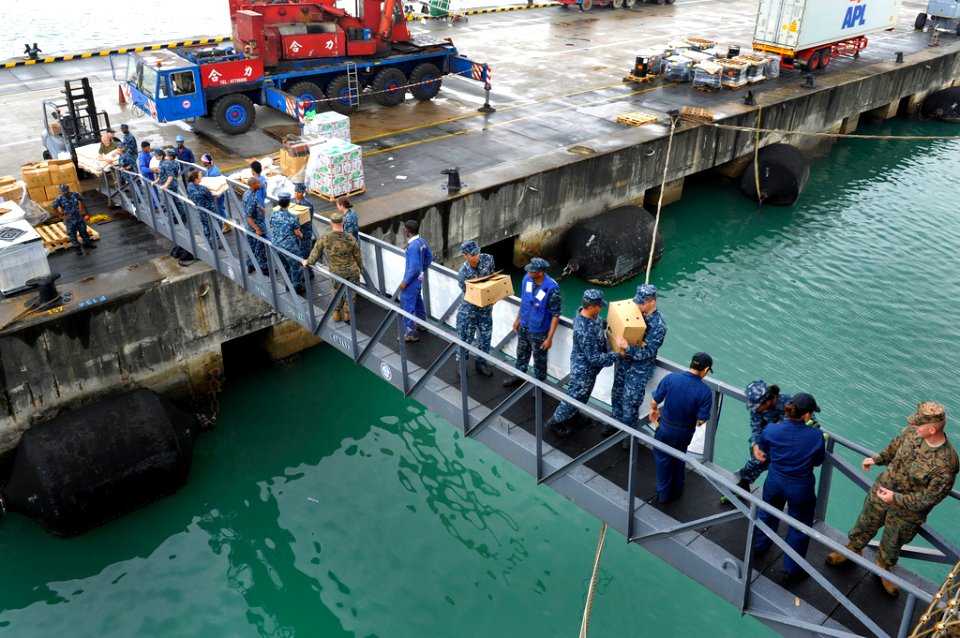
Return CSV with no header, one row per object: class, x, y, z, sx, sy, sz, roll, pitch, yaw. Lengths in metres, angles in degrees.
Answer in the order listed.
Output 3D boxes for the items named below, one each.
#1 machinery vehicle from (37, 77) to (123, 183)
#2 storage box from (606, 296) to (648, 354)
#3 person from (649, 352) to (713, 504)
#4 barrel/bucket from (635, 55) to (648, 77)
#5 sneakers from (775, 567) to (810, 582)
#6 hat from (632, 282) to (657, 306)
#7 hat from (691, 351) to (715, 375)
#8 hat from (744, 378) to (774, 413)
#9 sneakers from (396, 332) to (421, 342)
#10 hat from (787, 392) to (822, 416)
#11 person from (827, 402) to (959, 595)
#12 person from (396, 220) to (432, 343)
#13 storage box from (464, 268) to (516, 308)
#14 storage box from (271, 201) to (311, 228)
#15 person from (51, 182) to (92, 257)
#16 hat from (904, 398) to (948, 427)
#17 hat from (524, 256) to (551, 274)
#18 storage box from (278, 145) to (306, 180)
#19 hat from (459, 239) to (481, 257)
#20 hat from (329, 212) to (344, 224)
machinery vehicle,-11.160,-5.328,18.437,2.947,2.403,1.113,17,28,32
storage box,2.205,0.143,9.948,0.470,0.742,0.633,-7,28,-7
person,2.867,1.545,9.557,0.835,2.198,0.723,-9,30,-10
barrel/bucket,6.627,-10.374,27.316,0.558,0.761,0.459,18,35,34
sneakers,4.199,3.419,8.955,0.443,0.180,0.145,-9,71,0
hat,2.531,-0.388,9.977,0.339,0.151,0.437,23,54,21
hat,3.141,0.567,9.351,0.277,0.223,0.392,20,43,32
hat,3.781,1.006,9.030,0.332,0.230,0.439,3,54,37
sneakers,-1.276,0.332,12.378,0.288,0.162,0.123,3,34,-2
hat,4.276,1.080,8.705,0.422,0.219,0.265,-22,39,-22
person,5.533,2.166,8.646,0.924,2.274,0.976,21,37,37
person,-1.249,-0.720,12.095,0.623,2.309,0.801,3,30,12
storage box,0.123,-0.387,11.171,0.827,0.478,0.561,-29,30,-27
storage box,-3.697,-2.194,13.428,0.524,0.228,0.543,37,59,23
person,-9.591,-2.470,15.643,0.541,1.583,1.010,-18,32,-24
hat,5.670,1.233,8.461,0.254,0.442,0.319,-12,30,-15
hat,0.925,-0.826,10.632,0.415,0.151,0.456,2,31,3
storage box,-4.950,-4.150,17.602,0.696,0.856,0.505,32,49,13
hat,-0.158,-1.190,11.234,0.260,0.335,0.375,1,28,7
hat,-2.579,-1.830,12.057,0.229,0.244,0.243,-4,60,-21
